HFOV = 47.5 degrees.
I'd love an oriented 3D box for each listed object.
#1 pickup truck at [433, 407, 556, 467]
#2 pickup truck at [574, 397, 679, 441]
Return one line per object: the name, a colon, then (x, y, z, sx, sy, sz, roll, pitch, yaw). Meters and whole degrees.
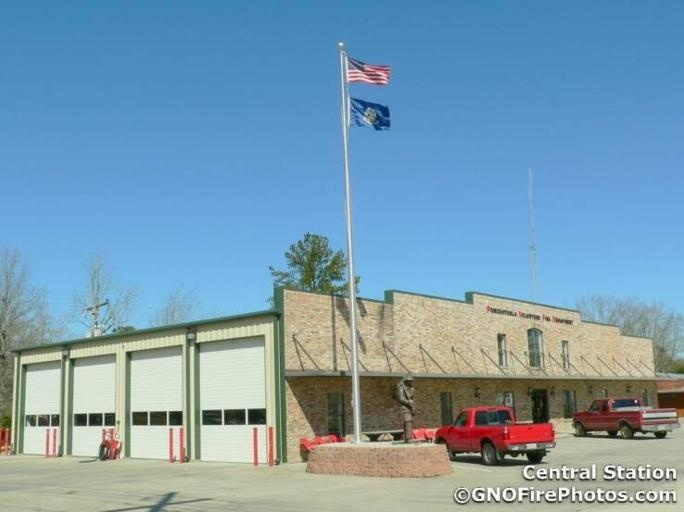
pickup truck: (5.601, 6.856, 29.637, 2.229, 1.576, 3.974, 7, -11, -33)
pickup truck: (14.205, 8.128, 39.743, 2.372, 1.529, 4.414, 8, -13, -31)
